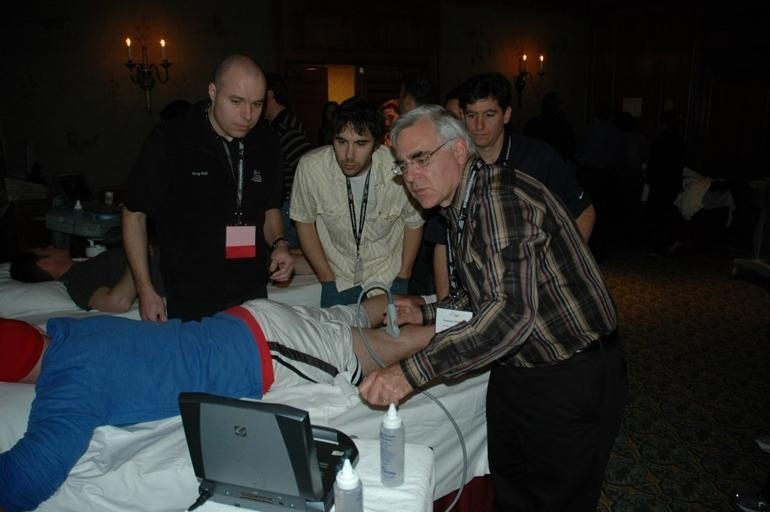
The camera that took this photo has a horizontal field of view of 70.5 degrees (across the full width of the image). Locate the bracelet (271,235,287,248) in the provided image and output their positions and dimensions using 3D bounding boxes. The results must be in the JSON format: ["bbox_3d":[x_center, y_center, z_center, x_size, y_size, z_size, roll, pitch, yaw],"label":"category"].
[{"bbox_3d":[-0.624,-0.093,3.168,0.060,0.037,0.081,-4,36,-5],"label":"bracelet"}]

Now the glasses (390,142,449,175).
[{"bbox_3d":[0.120,-0.413,2.193,0.253,0.133,0.128,11,16,40],"label":"glasses"}]

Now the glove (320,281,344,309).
[{"bbox_3d":[-0.329,0.231,3.436,0.115,0.151,0.085,-16,-11,-30],"label":"glove"}]

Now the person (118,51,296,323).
[{"bbox_3d":[-0.970,-0.374,2.949,0.867,1.423,0.361,-3,13,-18],"label":"person"}]

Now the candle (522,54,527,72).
[{"bbox_3d":[2.106,-3.018,8.213,0.069,0.241,0.078,0,12,-1],"label":"candle"}]

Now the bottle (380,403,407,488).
[{"bbox_3d":[0.031,0.689,2.019,0.096,0.314,0.095,1,12,0],"label":"bottle"}]
